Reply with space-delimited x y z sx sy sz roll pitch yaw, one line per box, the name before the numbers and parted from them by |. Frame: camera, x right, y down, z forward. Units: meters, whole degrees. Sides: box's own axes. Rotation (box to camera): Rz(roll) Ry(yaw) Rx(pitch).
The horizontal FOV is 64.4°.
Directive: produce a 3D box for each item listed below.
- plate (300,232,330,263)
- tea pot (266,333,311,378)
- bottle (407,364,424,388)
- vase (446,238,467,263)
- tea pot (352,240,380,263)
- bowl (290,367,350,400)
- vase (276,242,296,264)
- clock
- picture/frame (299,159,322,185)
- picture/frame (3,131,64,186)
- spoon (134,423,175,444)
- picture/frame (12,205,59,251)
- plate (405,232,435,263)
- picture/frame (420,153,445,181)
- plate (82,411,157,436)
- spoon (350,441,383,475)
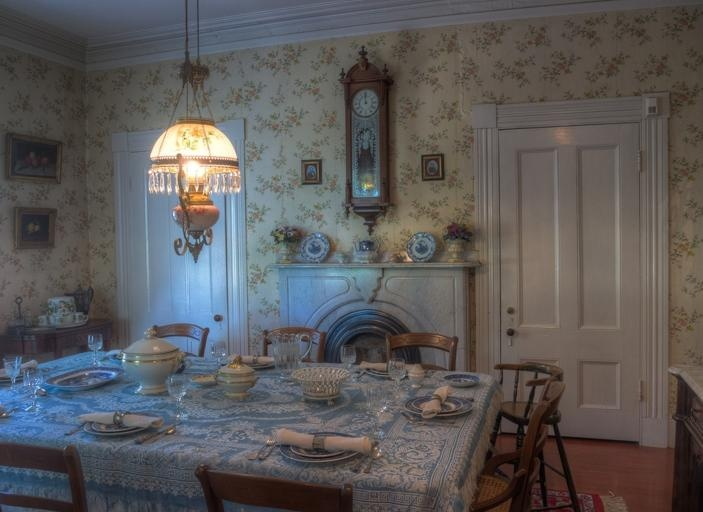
plate | -0.316 -0.067 4.960 0.246 0.268 0.043 0 -5 17
tea pot | -0.375 0.597 3.465 0.300 0.301 0.246 0 -6 -2
bottle | 0.367 0.712 3.313 0.106 0.149 0.105 -1 2 0
vase | 0.870 -0.042 4.643 0.165 0.145 0.174 0 -6 -3
tea pot | 0.116 -0.034 4.806 0.228 0.230 0.188 0 -5 3
bowl | -0.138 0.699 3.111 0.275 0.112 0.295 12 0 0
vase | -0.580 -0.026 5.013 0.174 0.189 0.064 0 -2 5
clock | 0.137 -0.956 4.775 0.434 1.547 0.276 0 10 4
picture/frame | -0.357 -0.752 5.001 0.223 0.274 0.028 0 0 9
picture/frame | -2.928 -0.892 5.109 0.045 0.410 0.549 -1 -1 30
spoon | -0.923 0.845 2.644 0.056 0.022 0.202 5 3 18
picture/frame | -2.927 -0.256 5.140 0.041 0.381 0.419 0 1 27
plate | 0.594 -0.076 4.716 0.249 0.243 0.129 0 10 8
picture/frame | 0.696 -0.757 4.735 0.218 0.258 0.020 0 0 8
plate | -1.128 0.807 2.679 0.192 0.053 0.176 2 -2 4
spoon | 0.065 0.862 2.410 0.092 0.084 0.152 4 10 25
